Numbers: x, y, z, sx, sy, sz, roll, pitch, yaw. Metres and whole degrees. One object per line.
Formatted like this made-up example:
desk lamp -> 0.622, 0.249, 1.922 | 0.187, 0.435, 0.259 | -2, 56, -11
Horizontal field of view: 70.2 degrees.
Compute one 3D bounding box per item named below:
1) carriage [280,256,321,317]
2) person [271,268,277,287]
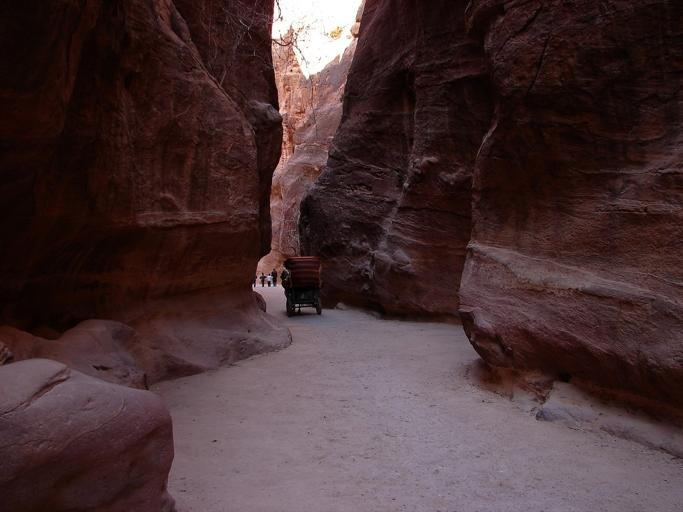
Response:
carriage -> -1.042, 0.762, 12.616 | 1.003, 1.489, 0.843 | 0, 4, -8
person -> -3.681, 1.168, 26.440 | 0.251, 0.995, 1.219 | 0, 4, -13
